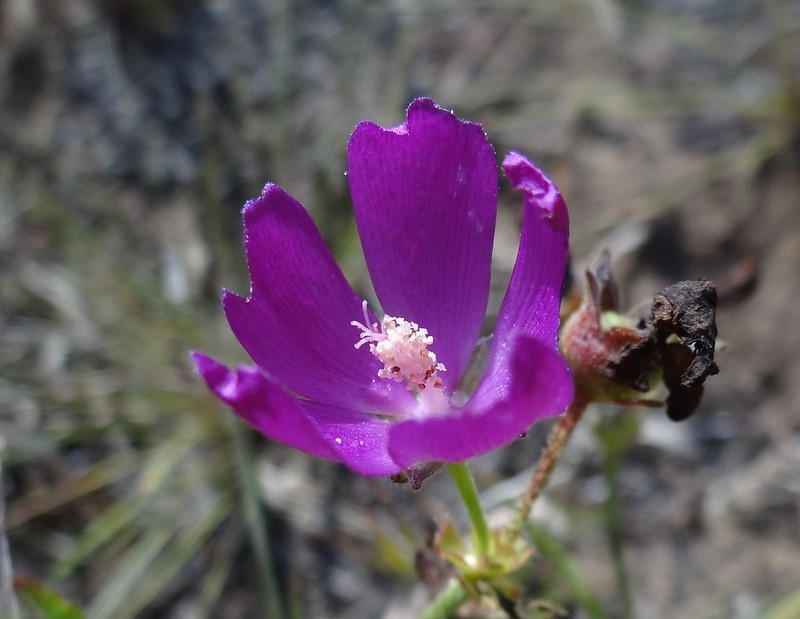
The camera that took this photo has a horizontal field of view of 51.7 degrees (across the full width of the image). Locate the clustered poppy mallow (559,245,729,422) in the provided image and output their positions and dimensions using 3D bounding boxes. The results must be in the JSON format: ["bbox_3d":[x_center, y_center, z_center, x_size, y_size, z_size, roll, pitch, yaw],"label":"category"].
[{"bbox_3d":[0.237,0.038,0.860,0.154,0.146,0.122,12,102,-21],"label":"clustered poppy mallow"}]
